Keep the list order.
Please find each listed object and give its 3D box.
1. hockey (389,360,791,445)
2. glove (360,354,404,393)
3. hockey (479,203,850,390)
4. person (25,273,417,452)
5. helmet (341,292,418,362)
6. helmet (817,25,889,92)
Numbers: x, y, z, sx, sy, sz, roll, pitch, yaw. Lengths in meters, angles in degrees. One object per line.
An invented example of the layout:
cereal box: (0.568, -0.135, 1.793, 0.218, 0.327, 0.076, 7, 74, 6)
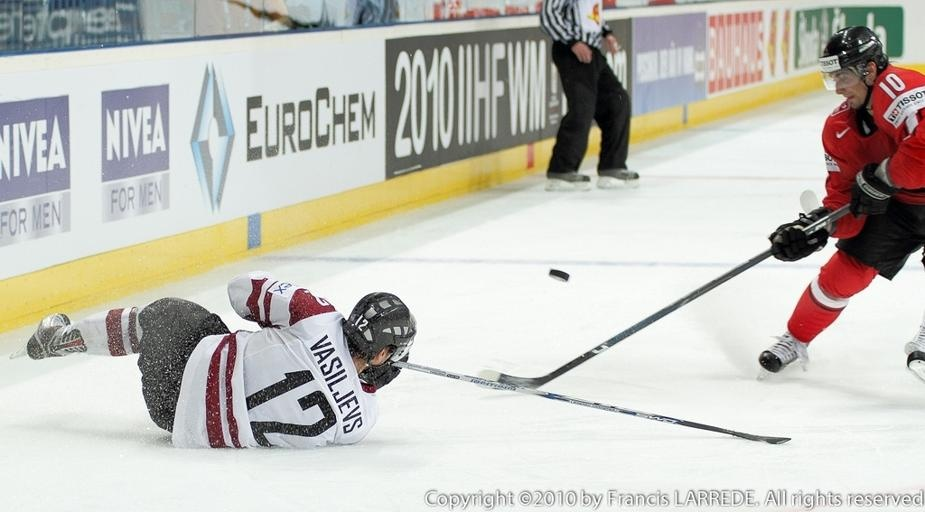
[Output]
hockey: (0.599, 0.703, 4.375, 2.013, 0.136, 0.134, 6, 50, 12)
glove: (-0.348, 0.528, 4.021, 0.152, 0.131, 0.112, -35, 39, -4)
hockey: (1.156, 0.264, 5.390, 1.894, 0.104, 0.299, -26, 29, 11)
person: (-1.147, 0.354, 4.391, 1.897, 0.660, 1.263, 10, 9, 23)
helmet: (-0.334, 0.332, 3.987, 0.250, 0.240, 0.305, -35, -20, -8)
helmet: (1.889, -0.948, 4.502, 0.294, 0.299, 0.280, 5, 18, 21)
